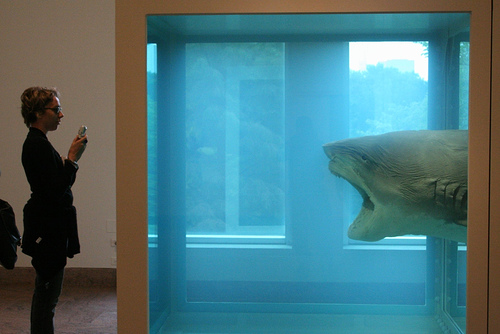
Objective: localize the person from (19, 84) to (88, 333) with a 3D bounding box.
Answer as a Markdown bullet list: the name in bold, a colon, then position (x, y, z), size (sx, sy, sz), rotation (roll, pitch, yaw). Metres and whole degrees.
- **person**: position (-1.391, 0.306, 3.559), size (0.436, 1.404, 0.331), rotation (1, 0, -21)

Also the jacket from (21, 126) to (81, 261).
- **jacket**: position (-1.382, 0.182, 3.519), size (0.378, 0.746, 0.262), rotation (1, 0, -26)

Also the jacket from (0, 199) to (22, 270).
- **jacket**: position (-1.701, 0.482, 3.594), size (0.127, 0.387, 0.207), rotation (1, 0, -27)
